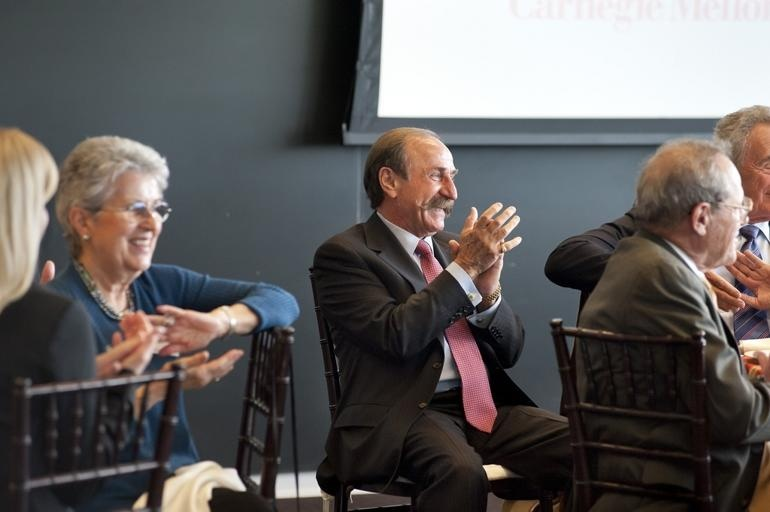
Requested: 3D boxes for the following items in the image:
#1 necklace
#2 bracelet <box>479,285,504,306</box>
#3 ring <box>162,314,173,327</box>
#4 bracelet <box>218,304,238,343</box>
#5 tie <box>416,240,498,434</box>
[{"bbox_3d":[-0.945,0.122,2.293,0.055,0.220,0.161,-27,4,30],"label":"necklace"},{"bbox_3d":[0.402,0.154,2.614,0.060,0.026,0.072,-38,-16,-40],"label":"bracelet"},{"bbox_3d":[-0.729,0.218,2.292,0.032,0.031,0.011,17,-9,-35],"label":"ring"},{"bbox_3d":[-0.549,0.222,2.398,0.036,0.093,0.068,-14,27,-3],"label":"bracelet"},{"bbox_3d":[0.306,0.377,2.627,0.124,0.667,0.036,-7,-40,-9],"label":"tie"}]
